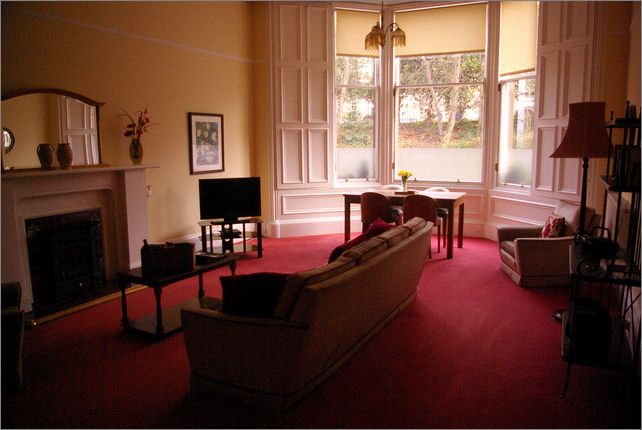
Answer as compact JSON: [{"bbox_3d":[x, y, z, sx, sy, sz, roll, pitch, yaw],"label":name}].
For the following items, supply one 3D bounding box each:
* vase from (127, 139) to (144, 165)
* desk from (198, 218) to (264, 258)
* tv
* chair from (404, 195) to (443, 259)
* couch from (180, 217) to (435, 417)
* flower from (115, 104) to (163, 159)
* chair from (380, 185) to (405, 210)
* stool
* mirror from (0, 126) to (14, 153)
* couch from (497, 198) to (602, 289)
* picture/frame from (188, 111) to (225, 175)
[{"bbox_3d":[-2.618,-0.899,6.361,0.171,0.371,0.231,-6,11,-25],"label":"vase"},{"bbox_3d":[-1.491,0.248,7.277,1.043,0.691,0.624,0,24,4],"label":"desk"},{"bbox_3d":[-1.479,-0.234,7.241,0.709,0.512,0.191,-2,12,-15],"label":"tv"},{"bbox_3d":[1.641,0.156,7.368,0.597,1.016,0.628,3,12,23],"label":"chair"},{"bbox_3d":[-0.246,0.332,4.272,1.317,1.276,3.177,4,8,34],"label":"couch"},{"bbox_3d":[-2.582,-1.144,6.461,0.273,0.800,0.548,6,13,41],"label":"flower"},{"bbox_3d":[1.305,-0.321,8.201,0.376,0.495,0.418,4,9,33],"label":"chair"},{"bbox_3d":[-1.648,0.930,5.370,0.694,0.635,1.324,0,6,28],"label":"stool"},{"bbox_3d":[-3.659,-0.882,5.267,0.078,0.208,0.216,6,-8,9],"label":"mirror"},{"bbox_3d":[3.020,0.325,6.243,1.119,1.133,1.132,-1,3,8],"label":"couch"},{"bbox_3d":[-1.913,-1.193,7.503,0.048,0.981,0.704,6,12,39],"label":"picture/frame"}]
